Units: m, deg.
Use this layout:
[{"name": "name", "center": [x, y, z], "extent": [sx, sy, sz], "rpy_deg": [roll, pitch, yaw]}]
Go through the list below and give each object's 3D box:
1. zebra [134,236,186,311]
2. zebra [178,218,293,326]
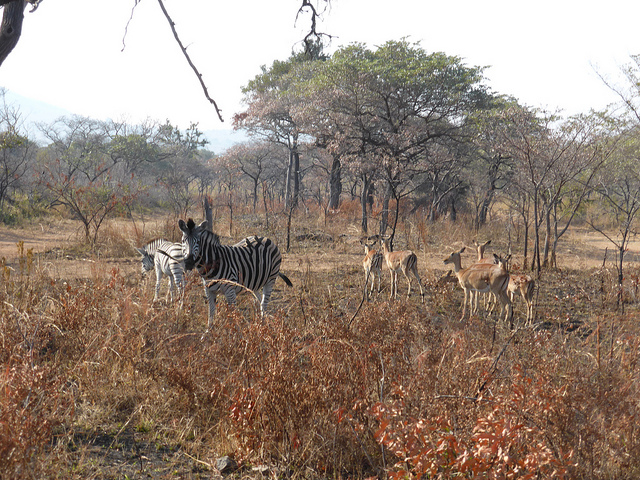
[{"name": "zebra", "center": [-3.898, 0.743, 17.503], "extent": [1.968, 1.542, 0.603], "rpy_deg": [8, 9, 41]}, {"name": "zebra", "center": [-1.919, 0.615, 15.380], "extent": [0.929, 2.213, 2.609], "rpy_deg": [5, 6, 40]}]
